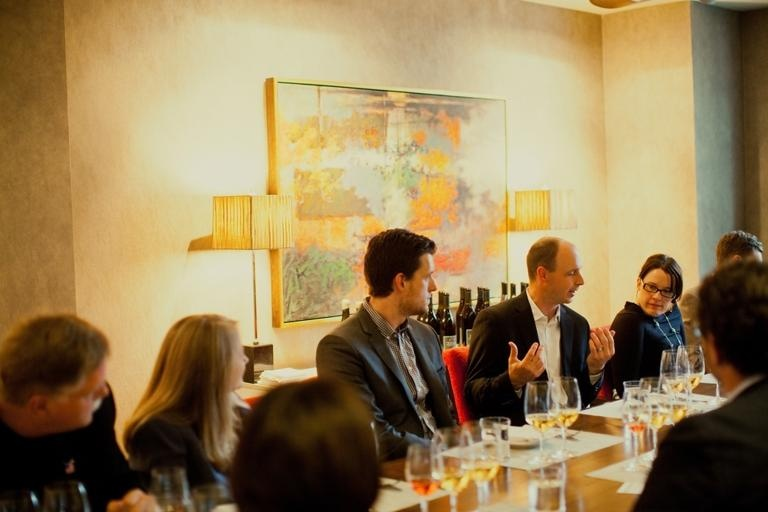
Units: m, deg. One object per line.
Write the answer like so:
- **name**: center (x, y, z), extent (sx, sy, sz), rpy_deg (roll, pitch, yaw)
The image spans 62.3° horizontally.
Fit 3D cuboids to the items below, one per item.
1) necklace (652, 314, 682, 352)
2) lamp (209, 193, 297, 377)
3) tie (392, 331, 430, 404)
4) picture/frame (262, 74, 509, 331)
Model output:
- **necklace**: center (1.857, 0.512, 4.192), extent (0.129, 0.214, 0.054), rpy_deg (-32, -3, -34)
- **lamp**: center (-0.958, 0.221, 4.710), extent (0.550, 1.355, 0.535), rpy_deg (-6, 11, -34)
- **tie**: center (0.134, 0.566, 3.276), extent (0.230, 0.315, 0.099), rpy_deg (-26, 0, -28)
- **picture/frame**: center (-0.073, -0.439, 4.968), extent (2.260, 1.717, 0.074), rpy_deg (-1, 0, -40)
